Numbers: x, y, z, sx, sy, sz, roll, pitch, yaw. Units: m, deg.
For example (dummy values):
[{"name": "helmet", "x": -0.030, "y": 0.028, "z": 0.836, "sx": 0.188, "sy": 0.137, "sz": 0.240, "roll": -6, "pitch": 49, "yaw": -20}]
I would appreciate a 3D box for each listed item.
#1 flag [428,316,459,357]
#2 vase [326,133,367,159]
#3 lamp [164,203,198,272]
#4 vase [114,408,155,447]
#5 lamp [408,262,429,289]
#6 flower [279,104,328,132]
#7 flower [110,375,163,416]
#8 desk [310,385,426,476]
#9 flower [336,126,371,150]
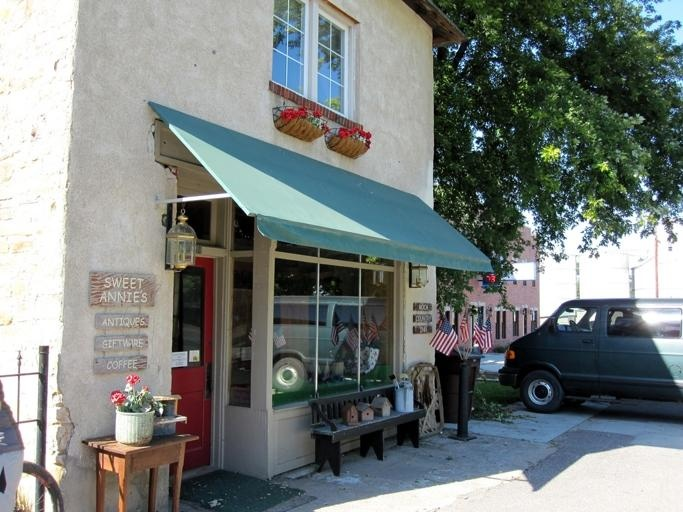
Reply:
[{"name": "flag", "x": 1.948, "y": 1.406, "z": 12.147, "sx": 0.472, "sy": 1.201, "sz": 0.126, "roll": 18, "pitch": 37, "yaw": 25}, {"name": "vase", "x": 0.109, "y": -1.897, "z": 10.628, "sx": 0.257, "sy": 0.418, "sz": 0.881, "roll": -1, "pitch": -3, "yaw": 42}, {"name": "lamp", "x": -1.937, "y": -0.209, "z": 7.721, "sx": 0.348, "sy": 0.757, "sz": 0.278, "roll": 1, "pitch": -2, "yaw": 11}, {"name": "vase", "x": -2.256, "y": 1.840, "z": 6.986, "sx": 0.413, "sy": 0.376, "sz": 0.433, "roll": 4, "pitch": -1, "yaw": -19}, {"name": "lamp", "x": 1.501, "y": 0.380, "z": 12.445, "sx": 0.183, "sy": 0.459, "sz": 0.708, "roll": 0, "pitch": -3, "yaw": 28}, {"name": "flower", "x": -0.579, "y": -2.122, "z": 9.814, "sx": 0.284, "sy": 0.380, "sz": 1.045, "roll": 0, "pitch": -3, "yaw": 33}, {"name": "flower", "x": -2.303, "y": 1.536, "z": 7.010, "sx": 0.470, "sy": 0.371, "sz": 0.496, "roll": 5, "pitch": -3, "yaw": 28}, {"name": "desk", "x": 0.428, "y": 2.711, "z": 10.214, "sx": 0.521, "sy": 1.051, "sz": 2.138, "roll": -5, "pitch": -4, "yaw": 43}, {"name": "flower", "x": 0.215, "y": -2.030, "z": 10.668, "sx": 0.408, "sy": 0.135, "sz": 0.376, "roll": 11, "pitch": 27, "yaw": -27}]
